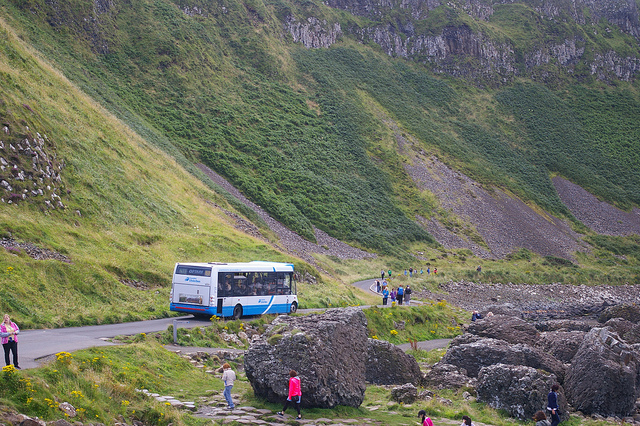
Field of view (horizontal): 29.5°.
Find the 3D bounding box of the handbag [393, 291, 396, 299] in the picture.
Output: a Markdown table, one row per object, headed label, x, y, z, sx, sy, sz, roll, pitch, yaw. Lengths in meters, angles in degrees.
| label | x | y | z | sx | sy | sz | roll | pitch | yaw |
| --- | --- | --- | --- | --- | --- | --- | --- | --- | --- |
| handbag | 16.589 | 18.617 | 273.323 | 0.504 | 1.684 | 0.401 | -13 | 0 | -23 |
